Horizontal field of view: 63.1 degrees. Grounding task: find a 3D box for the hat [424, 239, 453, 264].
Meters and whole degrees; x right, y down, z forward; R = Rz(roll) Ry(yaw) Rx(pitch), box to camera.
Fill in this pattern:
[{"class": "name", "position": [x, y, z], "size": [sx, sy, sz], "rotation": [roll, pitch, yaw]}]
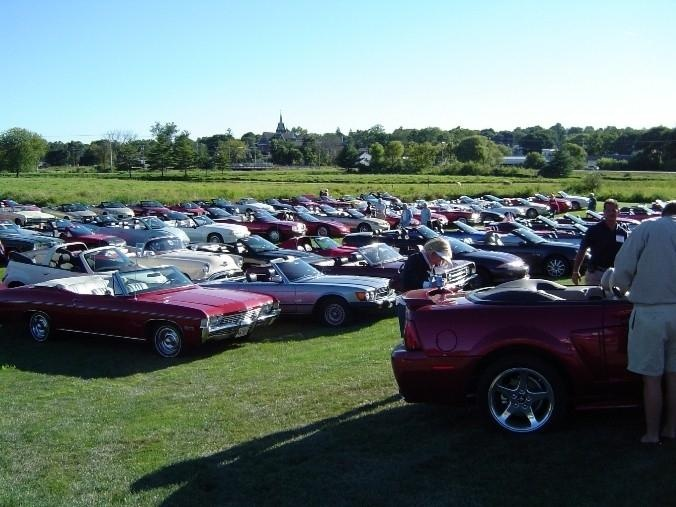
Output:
[{"class": "hat", "position": [1.358, -0.051, 7.255], "size": [0.457, 0.267, 0.279], "rotation": [3, 15, 15]}]
